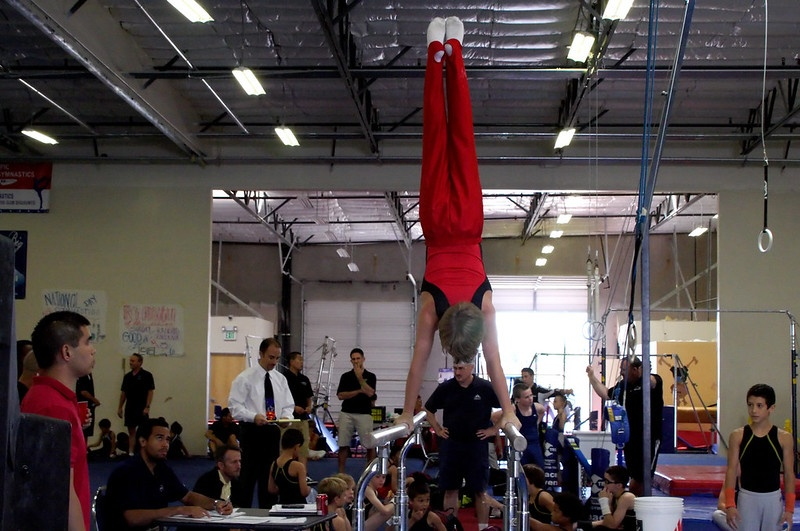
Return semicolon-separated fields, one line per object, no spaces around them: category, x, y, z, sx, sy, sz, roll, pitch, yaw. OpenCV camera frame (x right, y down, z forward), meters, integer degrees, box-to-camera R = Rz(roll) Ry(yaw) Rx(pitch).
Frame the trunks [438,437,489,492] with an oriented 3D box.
trunks;0.841;2.541;11.204;0.664;0.716;0.422;0;0;2

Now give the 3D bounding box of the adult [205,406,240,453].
adult;-3.224;3.033;15.719;0.580;0.904;0.579;6;-6;-40

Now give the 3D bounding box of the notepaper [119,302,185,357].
notepaper;-4.941;1.311;17.145;0.921;0.821;0.047;1;-16;-4

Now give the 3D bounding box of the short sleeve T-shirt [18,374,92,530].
short sleeve T-shirt;-3.351;1.820;8.403;0.715;1.483;0.375;6;-10;-25

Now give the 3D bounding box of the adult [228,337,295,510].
adult;-1.855;2.354;11.878;0.861;2.691;0.767;-1;13;-30

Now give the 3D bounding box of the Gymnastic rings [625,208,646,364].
Gymnastic rings;2.698;0.035;9.806;0.108;1.596;0.274;2;26;13

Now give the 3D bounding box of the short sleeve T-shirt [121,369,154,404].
short sleeve T-shirt;-4.901;2.257;16.058;0.641;0.702;0.361;-2;-7;-1

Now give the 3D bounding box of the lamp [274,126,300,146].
lamp;-2.051;-2.407;15.662;0.327;0.317;0.636;1;-11;3

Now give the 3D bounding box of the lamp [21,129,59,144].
lamp;-6.749;-2.412;16.130;0.388;0.103;0.389;15;-4;-36

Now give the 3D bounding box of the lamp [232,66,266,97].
lamp;-2.473;-2.988;14.012;0.390;0.259;0.683;-2;-12;20

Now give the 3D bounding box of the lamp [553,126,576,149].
lamp;2.972;-2.303;15.506;0.080;0.370;0.344;25;22;39

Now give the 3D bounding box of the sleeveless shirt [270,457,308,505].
sleeveless shirt;-1.480;2.840;11.549;0.465;0.686;0.366;1;14;28

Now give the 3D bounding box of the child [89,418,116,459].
child;-5.712;3.376;16.921;0.612;0.803;0.641;-1;-11;13

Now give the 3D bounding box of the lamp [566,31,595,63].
lamp;2.805;-3.348;13.157;0.330;0.215;0.660;1;-12;3

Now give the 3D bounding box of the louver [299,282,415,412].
louver;-1.182;2.191;24.655;2.531;3.172;0.109;2;-6;-8

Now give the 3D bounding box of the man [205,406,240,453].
man;-3.226;3.030;15.706;0.546;0.890;0.595;-1;-6;44
